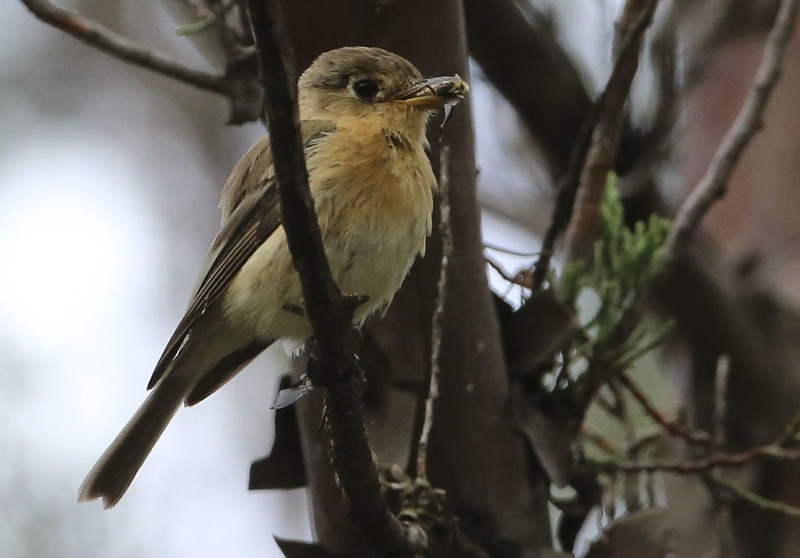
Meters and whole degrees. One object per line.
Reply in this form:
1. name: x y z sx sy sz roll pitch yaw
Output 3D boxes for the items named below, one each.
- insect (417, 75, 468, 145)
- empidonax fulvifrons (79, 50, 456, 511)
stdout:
1. insect: 0.112 -0.399 2.835 0.099 0.097 0.127 -6 -44 7
2. empidonax fulvifrons: -0.235 -0.008 2.811 0.436 0.750 0.957 27 -50 -26
